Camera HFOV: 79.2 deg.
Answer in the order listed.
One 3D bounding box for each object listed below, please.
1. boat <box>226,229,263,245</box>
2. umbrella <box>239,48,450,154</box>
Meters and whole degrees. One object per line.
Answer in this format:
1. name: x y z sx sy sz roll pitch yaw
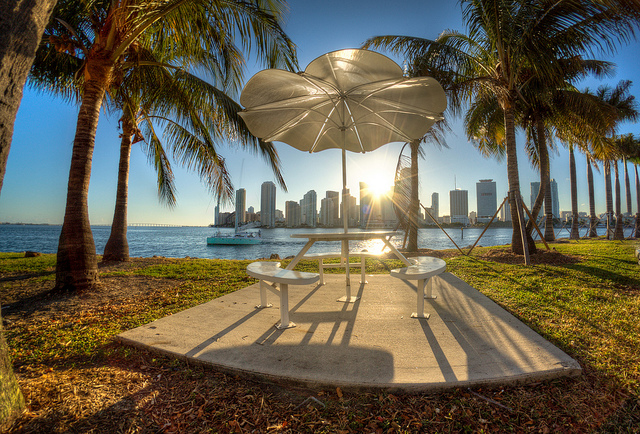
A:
1. boat: -10.709 2.543 50.360 5.631 2.227 1.876 2 -9 -7
2. umbrella: 0.467 -2.336 8.189 3.904 1.757 2.237 -1 8 -1
